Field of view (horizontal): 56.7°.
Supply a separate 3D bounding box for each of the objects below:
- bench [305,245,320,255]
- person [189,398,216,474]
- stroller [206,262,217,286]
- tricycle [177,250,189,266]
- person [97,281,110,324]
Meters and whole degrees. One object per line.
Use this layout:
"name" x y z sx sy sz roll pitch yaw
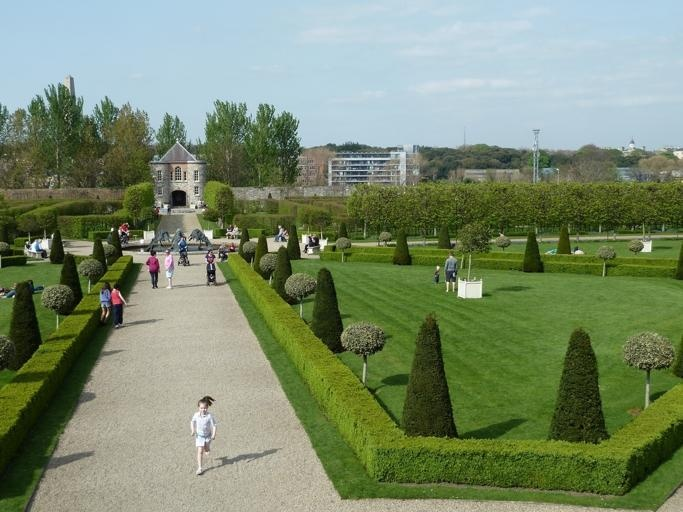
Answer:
"bench" -2.275 -0.538 48.270 1.060 0.598 2.036 1 10 2
"person" -3.190 3.968 14.596 0.520 1.556 1.310 -2 10 -13
"stroller" -6.586 0.862 31.905 0.399 1.290 0.621 -1 10 -10
"tricycle" -9.734 0.115 39.378 0.439 0.877 1.489 -1 10 -19
"person" -9.366 1.780 25.067 0.455 1.470 0.934 -3 11 -21
